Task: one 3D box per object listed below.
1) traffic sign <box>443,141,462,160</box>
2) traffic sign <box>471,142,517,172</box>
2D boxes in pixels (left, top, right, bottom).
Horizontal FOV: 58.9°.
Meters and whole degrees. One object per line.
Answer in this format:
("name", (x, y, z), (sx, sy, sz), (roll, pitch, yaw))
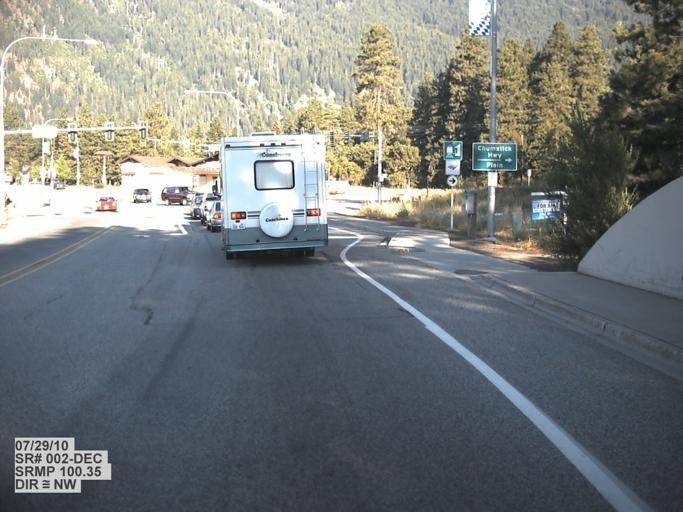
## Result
("traffic sign", (5.642, -5.366, 30.581), (0.772, 0.896, 2.248), (4, 9, 38))
("traffic sign", (6.350, -4.116, 25.044), (1.981, 1.169, 0.614), (-4, 5, -21))
